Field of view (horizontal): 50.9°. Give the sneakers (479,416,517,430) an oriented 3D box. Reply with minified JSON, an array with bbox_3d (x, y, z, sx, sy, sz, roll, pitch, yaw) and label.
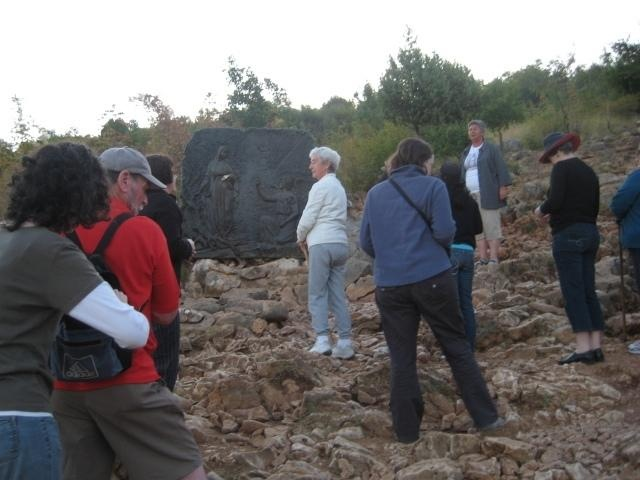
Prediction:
[{"bbox_3d":[1.344,1.419,5.175,0.268,0.087,0.041,-5,-7,-10],"label":"sneakers"}]

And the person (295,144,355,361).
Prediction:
[{"bbox_3d":[0.045,0.144,7.191,0.543,2.252,0.324,-5,-7,-2],"label":"person"}]

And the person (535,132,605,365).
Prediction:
[{"bbox_3d":[2.312,0.038,6.167,0.551,2.137,0.446,-8,-7,22],"label":"person"}]

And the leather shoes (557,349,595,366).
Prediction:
[{"bbox_3d":[2.249,1.042,5.971,0.326,0.128,0.123,-1,-11,22],"label":"leather shoes"}]

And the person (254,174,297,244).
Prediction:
[{"bbox_3d":[-0.705,-0.468,11.120,0.734,1.324,0.357,-2,-28,6],"label":"person"}]

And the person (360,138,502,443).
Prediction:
[{"bbox_3d":[0.863,0.369,5.501,1.005,2.439,0.793,-3,2,4],"label":"person"}]

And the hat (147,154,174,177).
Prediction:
[{"bbox_3d":[-1.297,-0.603,5.461,0.194,0.193,0.152,-13,9,-14],"label":"hat"}]

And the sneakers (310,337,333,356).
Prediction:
[{"bbox_3d":[0.001,1.121,7.145,0.217,0.202,0.176,-6,-7,0],"label":"sneakers"}]

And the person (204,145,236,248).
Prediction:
[{"bbox_3d":[-1.637,-0.659,11.009,0.506,1.700,0.243,-8,-7,22],"label":"person"}]

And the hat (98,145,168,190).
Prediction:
[{"bbox_3d":[-1.233,-0.466,4.328,0.323,0.188,0.202,8,3,-32],"label":"hat"}]
